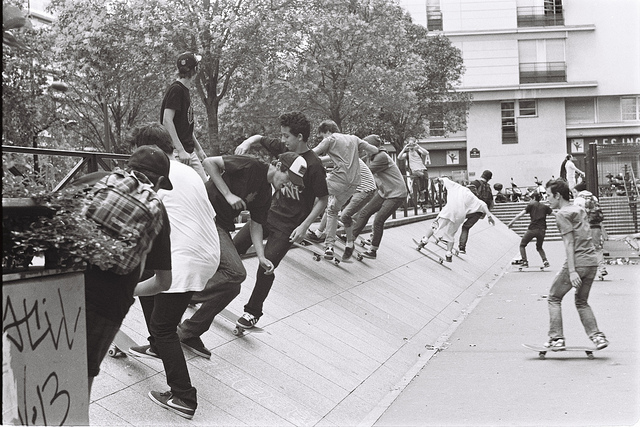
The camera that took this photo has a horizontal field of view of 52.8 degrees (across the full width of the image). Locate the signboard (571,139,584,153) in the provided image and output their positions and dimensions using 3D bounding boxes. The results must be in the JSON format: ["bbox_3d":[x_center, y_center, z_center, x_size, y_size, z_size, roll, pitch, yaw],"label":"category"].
[{"bbox_3d":[17.823,-4.716,44.911,1.026,1.037,0.133,1,-27,5],"label":"signboard"}]

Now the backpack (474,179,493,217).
[{"bbox_3d":[4.704,-0.605,18.625,0.367,0.753,0.705,0,3,22],"label":"backpack"}]

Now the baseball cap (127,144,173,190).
[{"bbox_3d":[-1.478,-0.430,5.823,0.263,0.245,0.401,16,-1,20],"label":"baseball cap"}]

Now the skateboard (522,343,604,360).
[{"bbox_3d":[3.349,1.914,9.176,1.203,0.206,0.333,-1,6,5],"label":"skateboard"}]

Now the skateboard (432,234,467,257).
[{"bbox_3d":[3.272,0.802,16.538,0.841,0.125,0.179,38,8,-16],"label":"skateboard"}]

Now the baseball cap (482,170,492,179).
[{"bbox_3d":[4.647,-1.118,18.003,0.223,0.242,0.312,21,13,14],"label":"baseball cap"}]

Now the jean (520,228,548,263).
[{"bbox_3d":[5.793,0.859,17.684,0.666,0.948,0.785,-1,3,16],"label":"jean"}]

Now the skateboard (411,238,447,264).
[{"bbox_3d":[2.571,0.893,15.513,0.848,0.127,0.177,33,24,3],"label":"skateboard"}]

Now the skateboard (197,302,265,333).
[{"bbox_3d":[-1.055,1.221,7.586,1.043,0.150,0.216,20,38,34],"label":"skateboard"}]

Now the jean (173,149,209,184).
[{"bbox_3d":[-1.565,-0.604,8.328,0.142,0.382,0.522,-1,3,9],"label":"jean"}]

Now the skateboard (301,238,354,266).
[{"bbox_3d":[0.100,0.667,11.368,0.838,0.128,0.200,32,17,7],"label":"skateboard"}]

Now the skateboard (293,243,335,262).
[{"bbox_3d":[-0.118,0.662,11.112,0.787,0.118,0.191,21,14,18],"label":"skateboard"}]

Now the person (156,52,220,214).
[{"bbox_3d":[-1.737,-0.857,8.456,0.681,2.401,0.907,13,20,41],"label":"person"}]

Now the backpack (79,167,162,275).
[{"bbox_3d":[-1.645,0.089,5.313,0.501,0.712,0.378,47,-31,-18],"label":"backpack"}]

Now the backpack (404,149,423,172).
[{"bbox_3d":[2.885,-1.685,20.082,0.447,0.632,0.585,-10,46,-7],"label":"backpack"}]

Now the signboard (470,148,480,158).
[{"bbox_3d":[10.740,-4.252,45.031,0.562,0.601,0.605,-1,-3,6],"label":"signboard"}]

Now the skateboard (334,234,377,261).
[{"bbox_3d":[0.662,0.649,12.354,0.771,0.119,0.183,33,20,22],"label":"skateboard"}]

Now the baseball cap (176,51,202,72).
[{"bbox_3d":[-1.658,-1.912,8.122,0.235,0.302,0.373,-2,3,-7],"label":"baseball cap"}]

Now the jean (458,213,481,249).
[{"bbox_3d":[3.866,0.427,16.796,0.533,0.944,0.895,-1,3,13],"label":"jean"}]

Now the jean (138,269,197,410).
[{"bbox_3d":[-1.406,1.290,6.164,0.432,1.101,0.302,-2,3,-8],"label":"jean"}]

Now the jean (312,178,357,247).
[{"bbox_3d":[0.248,-0.030,10.683,0.525,0.299,1.155,7,-25,2],"label":"jean"}]
